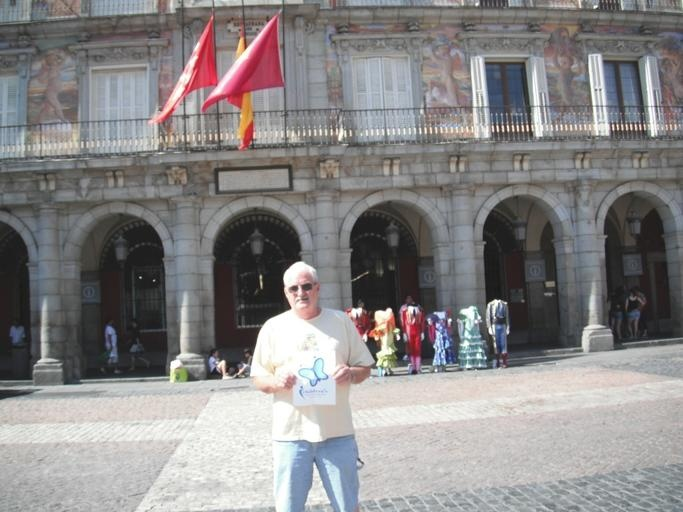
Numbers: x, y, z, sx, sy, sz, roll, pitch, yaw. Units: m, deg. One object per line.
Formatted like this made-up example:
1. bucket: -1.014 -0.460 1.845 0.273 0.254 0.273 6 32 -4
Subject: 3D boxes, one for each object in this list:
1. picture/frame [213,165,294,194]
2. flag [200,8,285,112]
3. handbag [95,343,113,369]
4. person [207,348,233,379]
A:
1. picture/frame: -2.666 -2.333 21.727 2.287 0.756 0.106 -4 -3 -1
2. flag: -2.651 -5.477 20.103 2.046 2.619 1.109 -3 -3 2
3. handbag: -7.809 3.359 23.251 0.259 0.937 0.642 11 17 -7
4. person: -3.674 3.193 21.433 0.903 0.881 0.376 -6 -4 28
